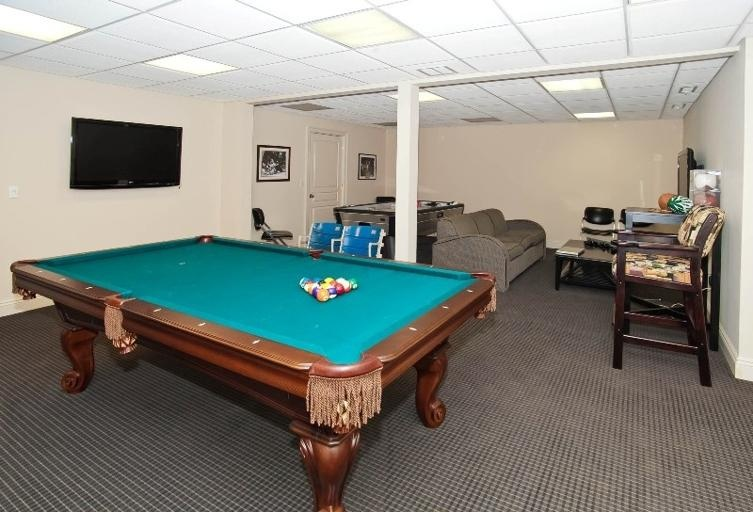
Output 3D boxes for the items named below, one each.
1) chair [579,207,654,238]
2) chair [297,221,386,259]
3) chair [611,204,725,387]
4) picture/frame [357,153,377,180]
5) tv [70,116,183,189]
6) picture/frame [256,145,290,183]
[{"bbox_3d":[3.808,-0.539,7.499,1.018,0.560,0.410,0,4,10],"label":"chair"},{"bbox_3d":[-0.358,-0.196,5.698,0.816,0.431,0.308,1,3,27],"label":"chair"},{"bbox_3d":[2.923,0.268,4.805,0.973,1.556,1.357,8,14,29],"label":"chair"},{"bbox_3d":[-0.244,-2.101,11.157,0.034,0.503,0.804,0,3,28],"label":"picture/frame"},{"bbox_3d":[-3.457,-1.398,6.431,0.135,0.756,1.323,10,9,38],"label":"tv"},{"bbox_3d":[-1.946,-1.745,9.014,0.906,0.669,0.078,10,13,35],"label":"picture/frame"}]
